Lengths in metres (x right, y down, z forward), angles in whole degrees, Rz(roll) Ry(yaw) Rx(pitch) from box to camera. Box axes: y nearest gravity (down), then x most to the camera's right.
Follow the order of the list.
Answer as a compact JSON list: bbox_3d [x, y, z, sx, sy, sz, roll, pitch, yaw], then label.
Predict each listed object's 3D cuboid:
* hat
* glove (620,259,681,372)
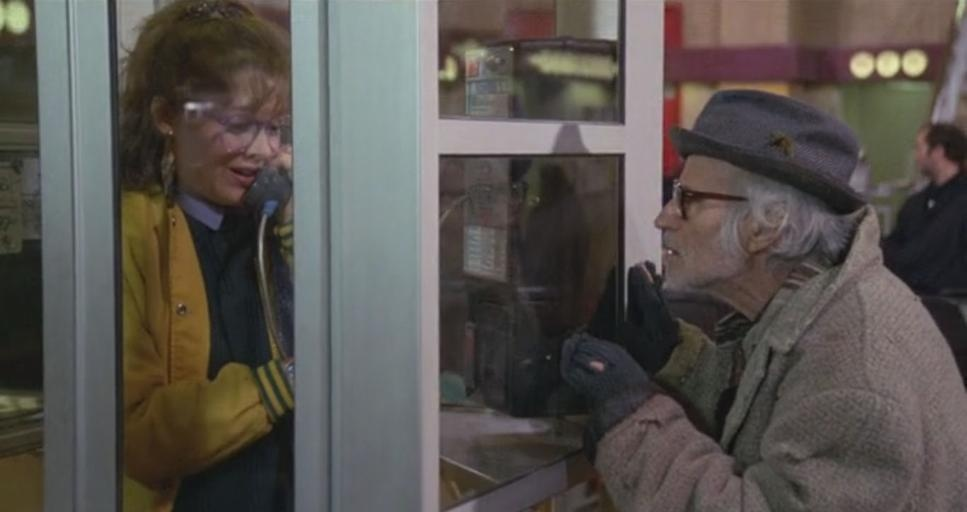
[{"bbox_3d":[0.795,-0.258,2.524,0.431,0.144,0.335,18,-1,2],"label":"hat"},{"bbox_3d":[0.474,0.180,2.525,0.188,0.293,0.087,-6,-7,26],"label":"glove"}]
